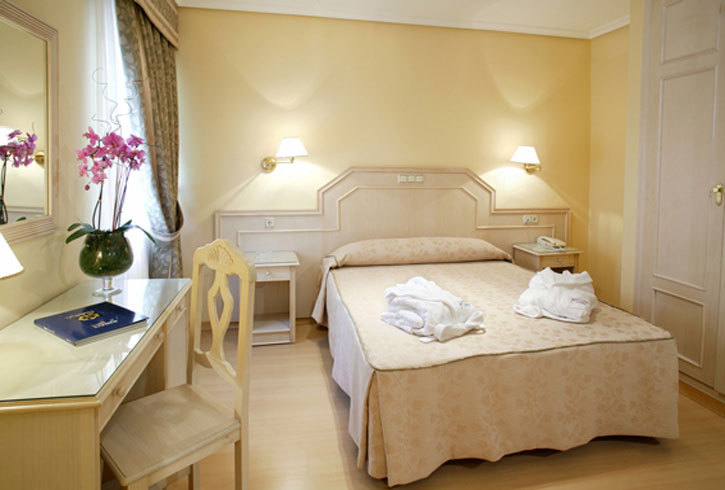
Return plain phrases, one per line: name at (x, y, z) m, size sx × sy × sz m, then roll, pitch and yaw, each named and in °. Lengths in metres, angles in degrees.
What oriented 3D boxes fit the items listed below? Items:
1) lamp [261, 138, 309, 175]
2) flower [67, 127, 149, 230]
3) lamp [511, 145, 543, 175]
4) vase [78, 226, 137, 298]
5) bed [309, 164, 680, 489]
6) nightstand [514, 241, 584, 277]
lamp at (-0.729, -0.826, 4.854) m, size 0.399 × 0.223 × 0.290 m, roll -23°, pitch 8°, yaw 17°
flower at (-1.655, -0.422, 3.423) m, size 0.351 × 0.686 × 0.825 m, roll -3°, pitch 9°, yaw -28°
lamp at (1.635, -0.848, 5.295) m, size 0.314 × 0.333 × 0.272 m, roll 4°, pitch 1°, yaw 10°
vase at (-1.521, 0.080, 3.252) m, size 0.370 × 0.490 × 0.353 m, roll -2°, pitch 11°, yaw -23°
bed at (0.643, 0.725, 4.217) m, size 2.340 × 1.460 × 2.274 m, roll -2°, pitch 11°, yaw -12°
nightstand at (1.837, 0.113, 5.212) m, size 0.361 × 0.445 × 0.377 m, roll -1°, pitch 8°, yaw -6°
